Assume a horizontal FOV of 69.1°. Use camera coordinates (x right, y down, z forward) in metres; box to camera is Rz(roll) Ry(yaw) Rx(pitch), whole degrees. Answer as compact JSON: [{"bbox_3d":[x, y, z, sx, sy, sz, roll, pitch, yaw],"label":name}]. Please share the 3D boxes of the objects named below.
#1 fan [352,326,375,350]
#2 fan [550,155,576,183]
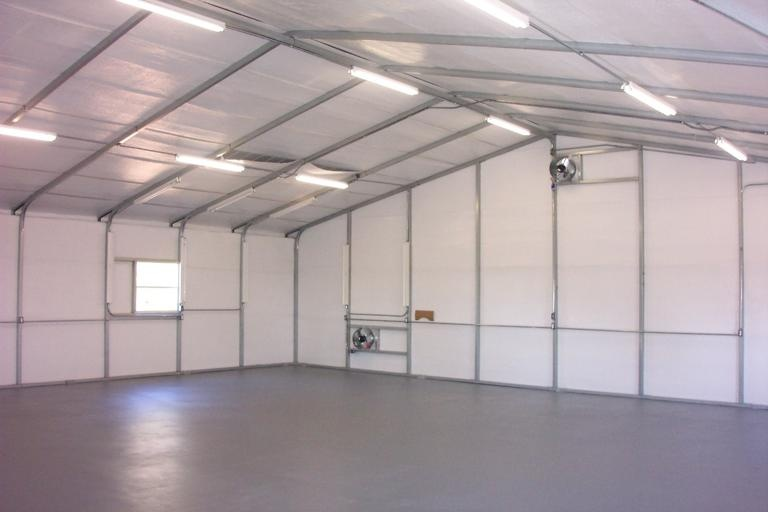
[{"bbox_3d":[-0.615,2.273,15.484,0.877,0.621,0.171,-9,-13,41],"label":"fan"},{"bbox_3d":[4.086,-1.984,12.734,0.660,0.551,0.176,10,15,35],"label":"fan"}]
